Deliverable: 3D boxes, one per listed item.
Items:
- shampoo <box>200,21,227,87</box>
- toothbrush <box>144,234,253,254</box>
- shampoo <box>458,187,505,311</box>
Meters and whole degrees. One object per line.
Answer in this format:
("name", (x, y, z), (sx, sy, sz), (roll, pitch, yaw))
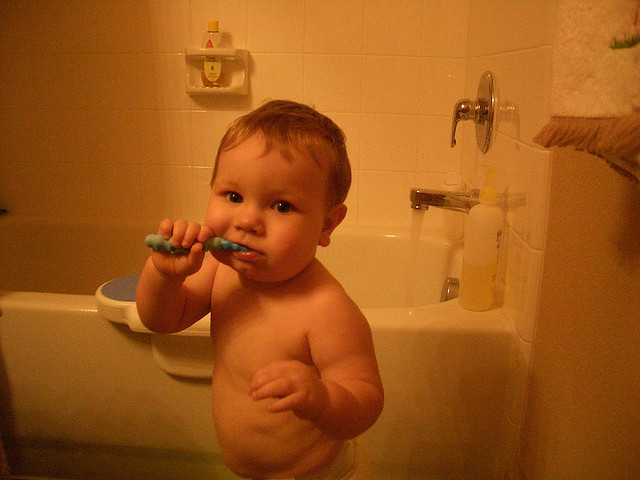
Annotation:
("shampoo", (-0.379, -0.630, 1.880), (0.080, 0.233, 0.074), (2, 19, -7))
("toothbrush", (-0.186, 0.009, 0.816), (0.167, 0.036, 0.024), (6, 17, 6))
("shampoo", (0.382, 0.030, 1.286), (0.088, 0.321, 0.117), (2, 12, 7))
